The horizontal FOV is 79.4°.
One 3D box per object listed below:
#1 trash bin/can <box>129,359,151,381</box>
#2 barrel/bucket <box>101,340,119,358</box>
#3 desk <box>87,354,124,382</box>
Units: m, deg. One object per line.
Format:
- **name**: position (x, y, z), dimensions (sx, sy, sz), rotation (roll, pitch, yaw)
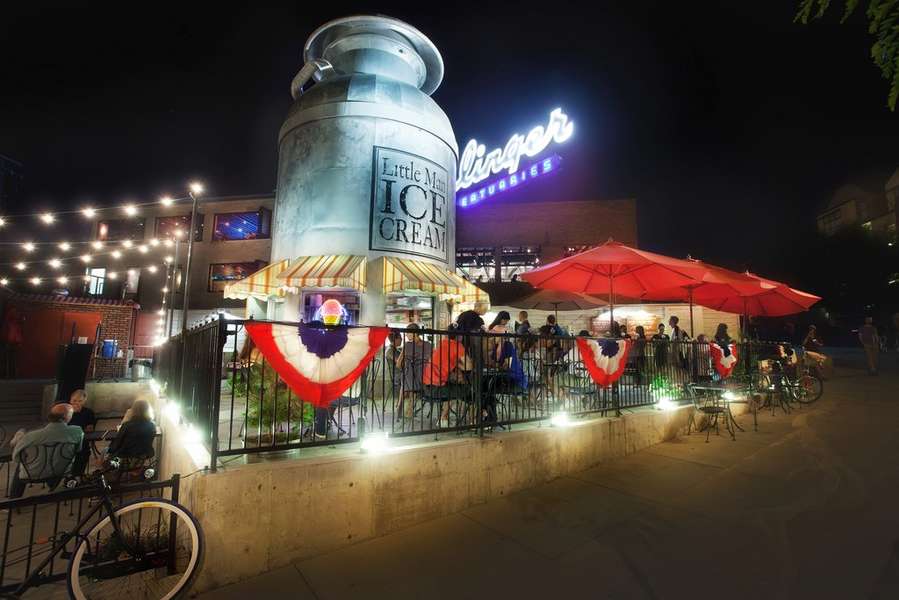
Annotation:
- **trash bin/can**: position (-15.818, 3.534, 27.345), dimensions (1.145, 1.230, 1.134), rotation (-3, -3, 23)
- **barrel/bucket**: position (-17.896, 2.505, 28.376), dimensions (1.027, 1.107, 1.014), rotation (0, -6, 0)
- **desk**: position (-17.734, 3.656, 27.544), dimensions (1.753, 1.611, 1.330), rotation (2, -3, -29)
